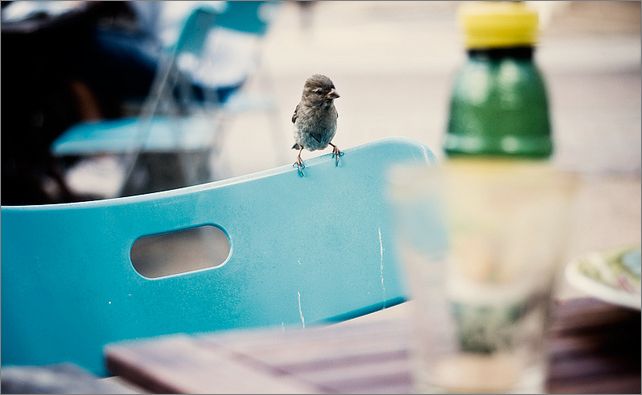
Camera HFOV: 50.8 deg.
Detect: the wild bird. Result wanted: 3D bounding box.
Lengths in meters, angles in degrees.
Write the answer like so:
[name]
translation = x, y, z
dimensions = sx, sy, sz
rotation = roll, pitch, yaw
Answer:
[wild bird]
translation = -0.015, -0.178, 1.568
dimensions = 0.133, 0.206, 0.225
rotation = -7, 32, -5
